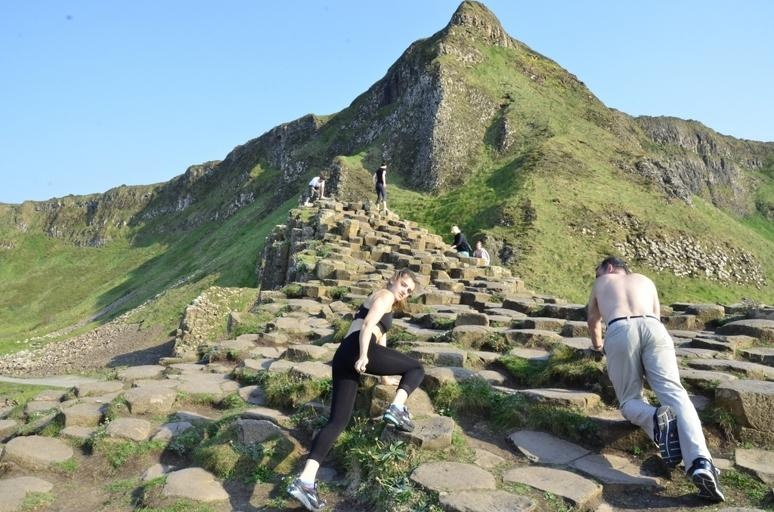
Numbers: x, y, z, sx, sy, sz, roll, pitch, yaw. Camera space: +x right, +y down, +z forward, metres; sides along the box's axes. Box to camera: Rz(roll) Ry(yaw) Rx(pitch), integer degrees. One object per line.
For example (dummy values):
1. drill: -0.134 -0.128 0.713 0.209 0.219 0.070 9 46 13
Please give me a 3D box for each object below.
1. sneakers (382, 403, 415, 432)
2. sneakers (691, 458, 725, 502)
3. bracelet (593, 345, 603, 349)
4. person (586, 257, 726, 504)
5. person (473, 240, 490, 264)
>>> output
1. sneakers: 0.155 1.990 6.536 0.521 0.245 0.216 35 -22 -31
2. sneakers: 3.581 2.482 5.929 0.251 0.280 0.628 -7 -49 36
3. bracelet: 3.142 1.349 7.854 0.097 0.055 0.071 -13 2 -3
4. person: 3.234 1.445 6.796 0.902 3.151 0.983 -4 -30 -2
5. person: 3.403 -0.190 19.064 0.509 0.969 1.714 -3 12 9
